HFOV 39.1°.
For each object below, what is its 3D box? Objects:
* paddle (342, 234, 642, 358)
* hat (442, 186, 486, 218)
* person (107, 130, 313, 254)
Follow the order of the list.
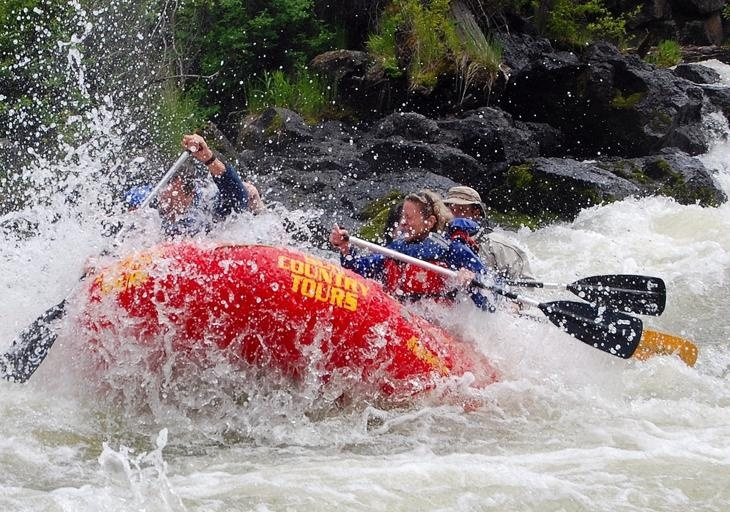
[{"bbox_3d":[1.353,0.505,11.465,3.521,0.698,0.258,20,6,7],"label":"paddle"},{"bbox_3d":[1.206,-0.666,12.479,0.399,0.238,0.321,12,-5,-32],"label":"hat"},{"bbox_3d":[-1.770,-0.691,11.093,1.339,1.088,0.617,2,45,-40],"label":"person"}]
